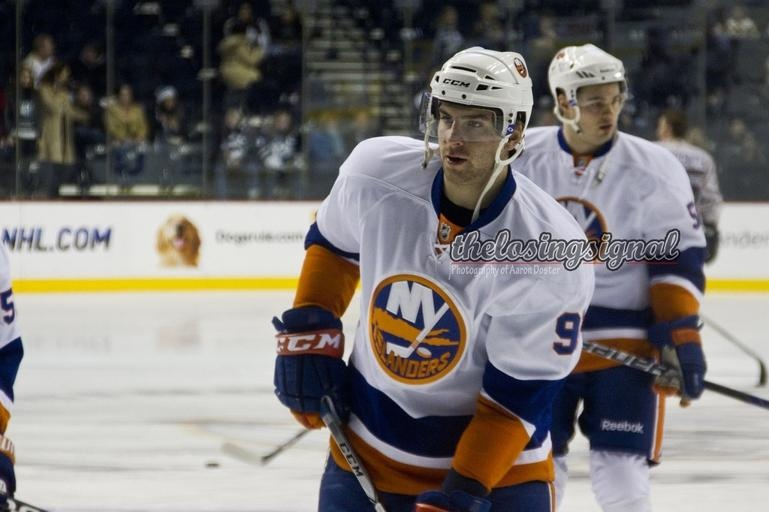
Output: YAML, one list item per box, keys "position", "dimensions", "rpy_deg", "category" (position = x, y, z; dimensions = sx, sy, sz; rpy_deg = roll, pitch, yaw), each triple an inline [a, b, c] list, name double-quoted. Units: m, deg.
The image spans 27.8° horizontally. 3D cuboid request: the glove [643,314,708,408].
- position: [2.038, 0.704, 10.881]
  dimensions: [0.398, 0.600, 0.181]
  rpy_deg: [1, 9, 8]
  category: "glove"
